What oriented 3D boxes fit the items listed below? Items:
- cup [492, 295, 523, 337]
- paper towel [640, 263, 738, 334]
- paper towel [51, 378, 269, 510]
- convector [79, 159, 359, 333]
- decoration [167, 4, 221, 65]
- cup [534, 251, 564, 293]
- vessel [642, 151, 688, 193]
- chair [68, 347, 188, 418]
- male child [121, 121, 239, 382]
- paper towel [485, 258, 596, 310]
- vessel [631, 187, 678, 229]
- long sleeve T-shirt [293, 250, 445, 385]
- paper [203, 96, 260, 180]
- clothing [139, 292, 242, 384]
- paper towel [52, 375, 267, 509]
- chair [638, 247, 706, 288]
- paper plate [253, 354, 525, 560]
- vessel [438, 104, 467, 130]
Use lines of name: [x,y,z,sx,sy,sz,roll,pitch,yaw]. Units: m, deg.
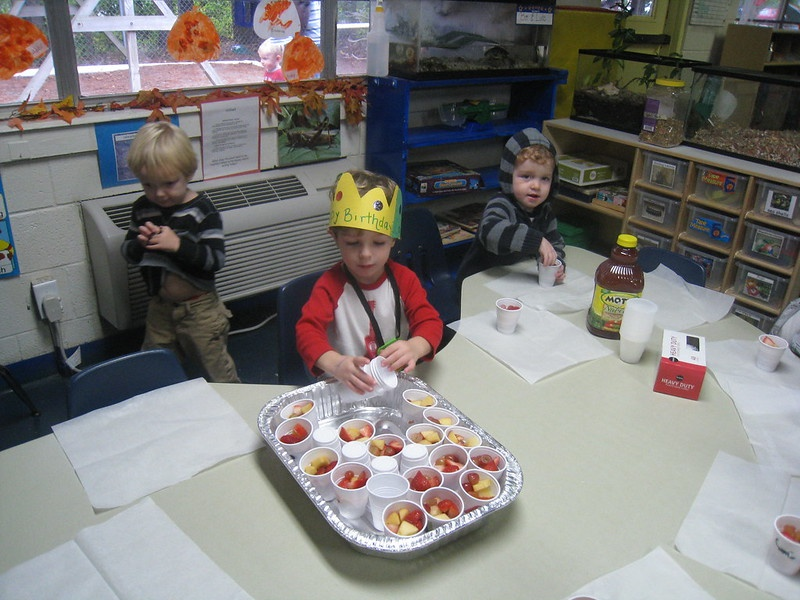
cup: [0.373,0.056,1.831,0.109,0.114,0.110,2,28,-1]
paper towel: [1.118,0.028,2.011,0.283,0.082,0.288,11,34,17]
paper towel: [-0.618,0.333,1.308,0.310,0.044,0.308,-20,39,-36]
convector: [-1.064,-0.283,3.245,1.702,0.760,0.459,-11,2,27]
decoration: [-1.052,-1.358,2.619,0.206,0.246,0.122,-17,34,-16]
cup: [0.600,-0.109,2.071,0.103,0.115,0.111,1,28,-1]
vessel: [1.536,-0.756,3.012,0.175,0.161,0.248,-23,35,-38]
chair: [-0.797,0.237,1.529,0.185,0.292,0.205,-19,76,-23]
male child: [-0.982,-0.006,2.360,0.506,1.501,0.471,1,24,-20]
paper towel: [0.606,-0.037,2.059,0.235,0.030,0.259,-22,36,-39]
vessel: [1.552,-0.550,3.123,0.184,0.158,0.249,-28,40,-36]
long sleeve T-shirt: [-0.104,0.129,1.738,0.462,0.529,0.362,1,36,8]
paper: [-0.928,-0.895,2.782,0.384,0.459,0.037,-13,29,-33]
clothing: [-1.011,0.213,2.424,0.451,0.615,0.194,6,25,-3]
paper towel: [-0.614,0.366,1.323,0.311,0.043,0.307,-20,39,-36]
chair: [1.179,-0.137,2.240,0.145,0.218,0.135,-41,54,-13]
paper plate: [-0.038,0.380,1.276,0.449,0.133,0.609,-21,35,-34]
vessel: [0.342,-1.226,3.436,0.179,0.163,0.147,-5,36,-8]
